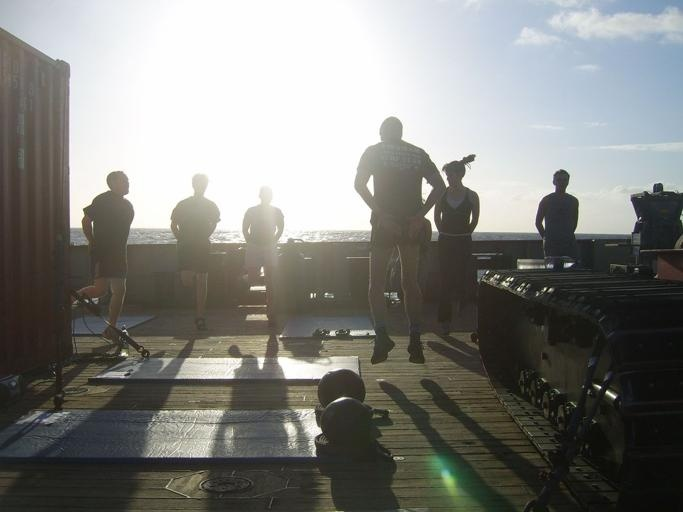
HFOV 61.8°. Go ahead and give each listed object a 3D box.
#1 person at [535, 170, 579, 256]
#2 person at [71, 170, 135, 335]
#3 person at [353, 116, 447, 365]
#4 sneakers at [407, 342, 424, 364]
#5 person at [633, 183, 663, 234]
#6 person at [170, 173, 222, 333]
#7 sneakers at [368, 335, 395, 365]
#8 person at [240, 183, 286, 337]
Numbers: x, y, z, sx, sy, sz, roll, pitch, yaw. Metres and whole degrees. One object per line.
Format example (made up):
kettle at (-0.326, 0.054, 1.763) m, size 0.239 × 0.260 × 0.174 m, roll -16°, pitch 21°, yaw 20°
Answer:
person at (2.669, -0.520, 7.091) m, size 0.513 × 1.073 × 0.443 m, roll 2°, pitch 4°, yaw 22°
person at (-2.503, -0.013, 6.145) m, size 0.557 × 1.780 × 0.991 m, roll -2°, pitch 4°, yaw -25°
person at (0.486, -0.163, 4.937) m, size 0.741 × 2.108 × 0.503 m, roll 1°, pitch 4°, yaw 9°
sneakers at (0.612, 0.823, 4.829) m, size 0.108 × 0.204 × 0.192 m, roll 1°, pitch -8°, yaw -8°
person at (5.931, -0.844, 11.084) m, size 0.563 × 0.807 × 0.433 m, roll 1°, pitch 4°, yaw 12°
person at (-1.920, -0.070, 7.548) m, size 0.630 × 2.040 × 0.369 m, roll -1°, pitch 4°, yaw -16°
sneakers at (0.336, 0.798, 4.839) m, size 0.183 × 0.250 × 0.126 m, roll -2°, pitch 4°, yaw -25°
person at (-1.034, 0.027, 7.634) m, size 0.523 × 1.916 × 0.583 m, roll 0°, pitch 4°, yaw -7°
